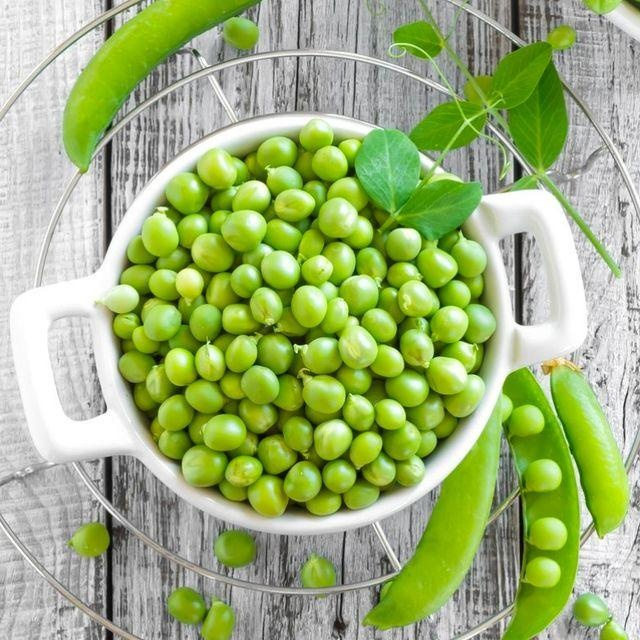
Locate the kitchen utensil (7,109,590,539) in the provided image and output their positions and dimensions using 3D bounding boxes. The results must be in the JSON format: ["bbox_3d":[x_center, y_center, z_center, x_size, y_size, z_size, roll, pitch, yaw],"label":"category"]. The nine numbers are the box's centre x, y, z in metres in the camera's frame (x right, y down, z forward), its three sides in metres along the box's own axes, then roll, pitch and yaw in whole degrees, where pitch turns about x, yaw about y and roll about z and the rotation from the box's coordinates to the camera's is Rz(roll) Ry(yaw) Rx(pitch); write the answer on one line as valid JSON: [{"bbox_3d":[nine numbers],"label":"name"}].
[{"bbox_3d":[-0.016,0.006,0.883,0.532,0.073,0.396,17,78,1],"label":"kitchen utensil"}]
